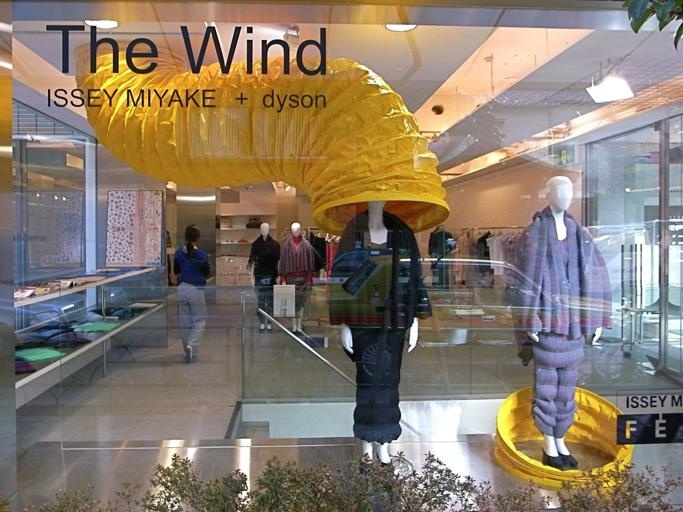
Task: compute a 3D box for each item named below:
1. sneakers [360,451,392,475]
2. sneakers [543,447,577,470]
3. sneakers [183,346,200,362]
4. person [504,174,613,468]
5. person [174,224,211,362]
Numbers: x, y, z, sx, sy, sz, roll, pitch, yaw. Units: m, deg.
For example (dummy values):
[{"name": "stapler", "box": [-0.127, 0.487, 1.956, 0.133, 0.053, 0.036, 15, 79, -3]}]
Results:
[{"name": "sneakers", "box": [0.207, 1.242, 3.026, 0.199, 0.094, 0.308, 0, 2, 1]}, {"name": "sneakers", "box": [1.331, 1.233, 3.140, 0.184, 0.058, 0.098, -1, -1, 9]}, {"name": "sneakers", "box": [-0.915, 0.596, 3.146, 0.055, 0.106, 0.077, 2, 5, -1]}, {"name": "person", "box": [1.366, 0.319, 3.179, 0.637, 1.583, 0.194, 0, 2, -8]}, {"name": "person", "box": [-0.878, 0.234, 3.013, 0.196, 0.818, 0.308, 0, 2, -18]}]
